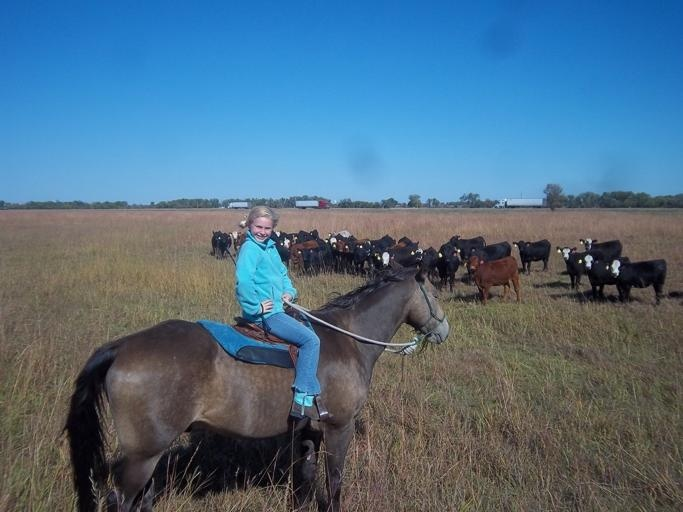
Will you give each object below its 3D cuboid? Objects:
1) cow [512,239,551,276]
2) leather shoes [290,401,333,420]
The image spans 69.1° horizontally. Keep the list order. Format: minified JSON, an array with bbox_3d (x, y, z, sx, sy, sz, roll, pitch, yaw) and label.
[{"bbox_3d":[7.900,-0.035,20.550,2.312,1.597,0.800,7,-9,-37],"label":"cow"},{"bbox_3d":[-0.321,1.652,5.377,0.421,0.265,0.182,4,1,-21],"label":"leather shoes"}]
